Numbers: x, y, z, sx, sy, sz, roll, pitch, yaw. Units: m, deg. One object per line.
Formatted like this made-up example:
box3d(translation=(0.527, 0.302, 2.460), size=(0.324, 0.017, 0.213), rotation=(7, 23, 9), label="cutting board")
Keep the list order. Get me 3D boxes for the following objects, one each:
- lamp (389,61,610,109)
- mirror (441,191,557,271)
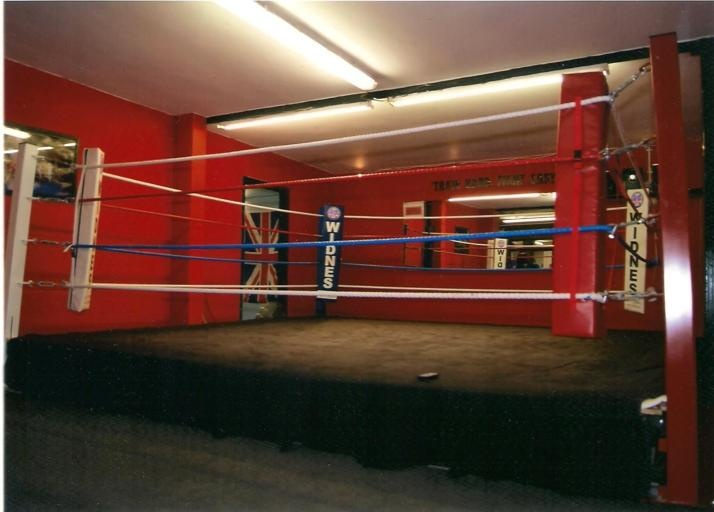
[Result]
box3d(translation=(1.121, -1.579, 5.374), size=(1.610, 0.204, 0.414), rotation=(4, 8, 24), label="lamp")
box3d(translation=(2.115, -0.355, 7.606), size=(1.183, 1.035, 1.312), rotation=(-1, 7, -16), label="mirror")
